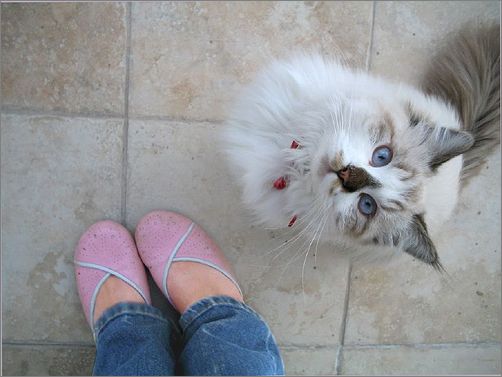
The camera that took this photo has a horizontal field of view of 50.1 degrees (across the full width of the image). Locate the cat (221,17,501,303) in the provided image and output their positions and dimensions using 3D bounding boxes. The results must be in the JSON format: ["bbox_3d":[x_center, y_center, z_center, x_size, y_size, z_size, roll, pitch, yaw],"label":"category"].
[{"bbox_3d":[0.485,-0.166,2.068,1.172,0.426,0.939,-16,85,2],"label":"cat"}]
